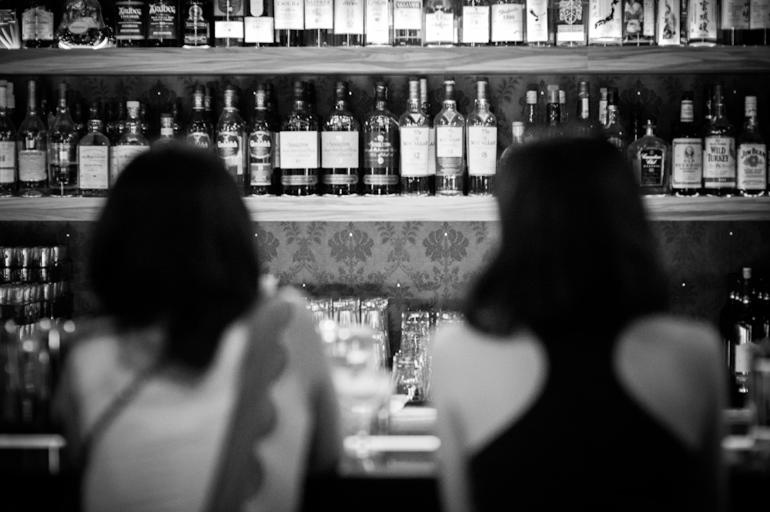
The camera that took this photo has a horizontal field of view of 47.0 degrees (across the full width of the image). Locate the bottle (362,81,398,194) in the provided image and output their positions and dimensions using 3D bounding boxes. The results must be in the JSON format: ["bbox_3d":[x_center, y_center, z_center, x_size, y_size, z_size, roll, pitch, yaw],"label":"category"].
[{"bbox_3d":[-0.021,-0.414,3.103,0.141,0.384,0.244,-3,8,0],"label":"bottle"}]

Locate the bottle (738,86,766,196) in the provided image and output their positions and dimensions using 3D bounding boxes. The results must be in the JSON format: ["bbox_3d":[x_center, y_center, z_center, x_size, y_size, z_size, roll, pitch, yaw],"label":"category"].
[{"bbox_3d":[1.257,-0.383,3.035,0.094,0.323,0.224,0,9,23],"label":"bottle"}]

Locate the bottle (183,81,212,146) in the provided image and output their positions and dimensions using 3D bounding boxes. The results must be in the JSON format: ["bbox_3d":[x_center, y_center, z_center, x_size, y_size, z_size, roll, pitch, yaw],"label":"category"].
[{"bbox_3d":[-0.667,-0.499,3.155,0.090,0.220,0.176,-4,9,-7],"label":"bottle"}]

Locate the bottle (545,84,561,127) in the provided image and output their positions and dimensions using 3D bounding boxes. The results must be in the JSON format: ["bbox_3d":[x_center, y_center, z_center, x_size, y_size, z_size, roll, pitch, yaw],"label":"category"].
[{"bbox_3d":[0.596,-0.534,3.145,0.051,0.148,0.118,-2,9,12],"label":"bottle"}]

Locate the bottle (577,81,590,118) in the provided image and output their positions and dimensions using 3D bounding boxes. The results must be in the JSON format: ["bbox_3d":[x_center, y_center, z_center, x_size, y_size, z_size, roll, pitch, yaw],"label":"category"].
[{"bbox_3d":[0.685,-0.549,3.070,0.032,0.110,0.064,-2,8,6],"label":"bottle"}]

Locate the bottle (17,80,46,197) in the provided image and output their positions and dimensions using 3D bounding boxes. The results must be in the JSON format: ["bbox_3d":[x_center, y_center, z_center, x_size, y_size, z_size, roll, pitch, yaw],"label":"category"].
[{"bbox_3d":[-1.244,-0.408,3.104,0.116,0.380,0.301,-6,9,-21],"label":"bottle"}]

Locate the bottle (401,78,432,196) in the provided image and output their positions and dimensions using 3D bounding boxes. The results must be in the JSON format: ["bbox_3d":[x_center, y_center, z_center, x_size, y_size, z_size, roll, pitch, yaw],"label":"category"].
[{"bbox_3d":[0.100,-0.410,3.060,0.118,0.400,0.195,-3,8,3],"label":"bottle"}]
